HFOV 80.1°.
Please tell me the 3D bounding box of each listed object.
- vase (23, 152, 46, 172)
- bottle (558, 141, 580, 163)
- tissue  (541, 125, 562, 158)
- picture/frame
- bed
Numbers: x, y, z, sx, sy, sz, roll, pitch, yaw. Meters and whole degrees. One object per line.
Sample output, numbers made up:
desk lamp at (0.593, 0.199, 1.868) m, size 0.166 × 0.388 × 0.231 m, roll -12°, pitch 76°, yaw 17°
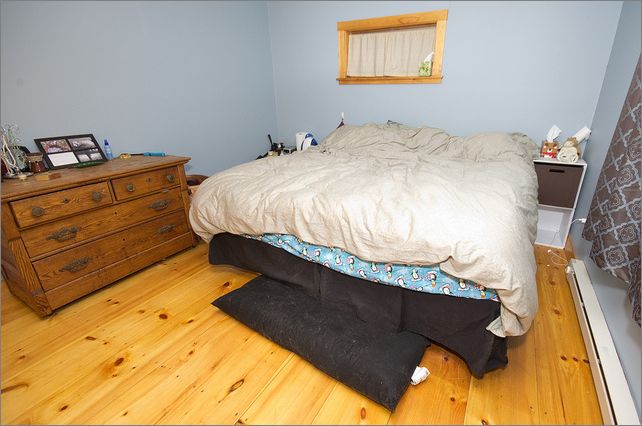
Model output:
vase at (-2.398, -0.431, 3.246) m, size 0.144 × 0.152 × 0.148 m, roll -10°, pitch 16°, yaw -23°
bottle at (2.375, -0.569, 3.669) m, size 0.143 × 0.095 × 0.245 m, roll 7°, pitch 38°, yaw 39°
tissue  at (2.316, -0.717, 3.839) m, size 0.150 × 0.289 × 0.312 m, roll 10°, pitch 25°, yaw 28°
picture/frame at (-2.252, -0.533, 3.395) m, size 0.445 × 0.020 × 0.295 m, roll -17°, pitch 60°, yaw -47°
bed at (0.924, -0.260, 3.433) m, size 2.231 × 0.981 × 2.310 m, roll 13°, pitch 30°, yaw 26°
